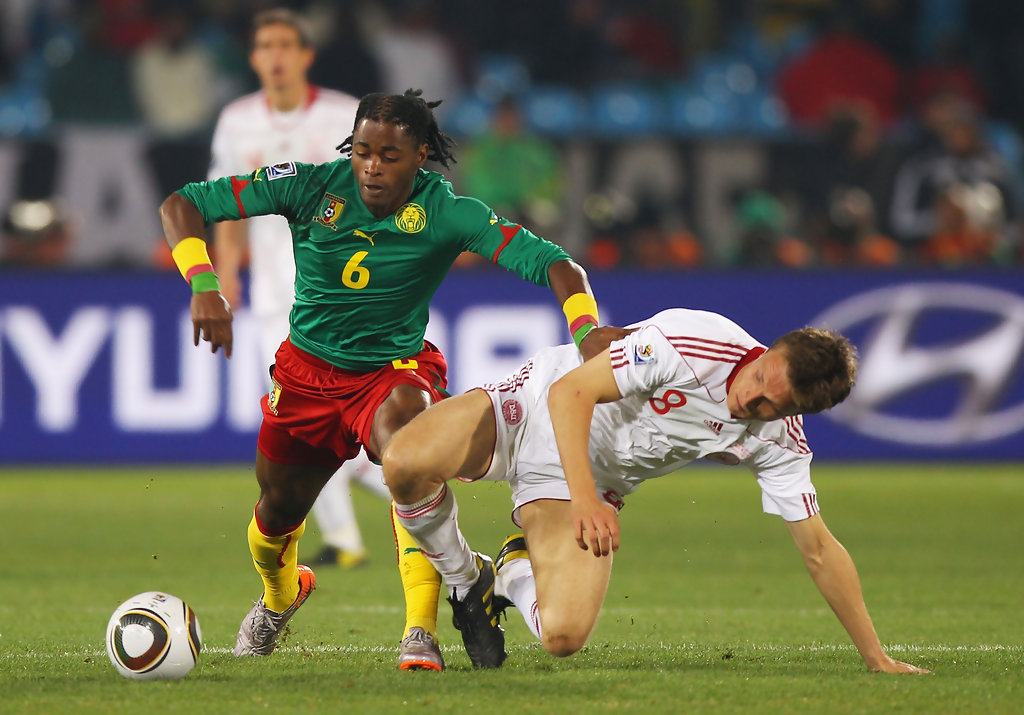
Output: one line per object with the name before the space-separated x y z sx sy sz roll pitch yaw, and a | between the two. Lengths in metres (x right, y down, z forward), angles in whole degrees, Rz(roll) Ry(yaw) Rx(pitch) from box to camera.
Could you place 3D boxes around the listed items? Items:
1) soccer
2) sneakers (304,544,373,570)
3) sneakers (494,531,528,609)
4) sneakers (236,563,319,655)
soccer | -1.925 1.454 8.244 0.441 0.449 0.421 1 7 -5
sneakers | -1.218 1.377 10.732 0.479 0.224 0.166 4 -3 9
sneakers | -0.009 1.175 8.643 0.192 0.447 0.145 12 -9 -39
sneakers | -1.343 1.473 8.742 0.234 0.665 0.282 33 -14 1
